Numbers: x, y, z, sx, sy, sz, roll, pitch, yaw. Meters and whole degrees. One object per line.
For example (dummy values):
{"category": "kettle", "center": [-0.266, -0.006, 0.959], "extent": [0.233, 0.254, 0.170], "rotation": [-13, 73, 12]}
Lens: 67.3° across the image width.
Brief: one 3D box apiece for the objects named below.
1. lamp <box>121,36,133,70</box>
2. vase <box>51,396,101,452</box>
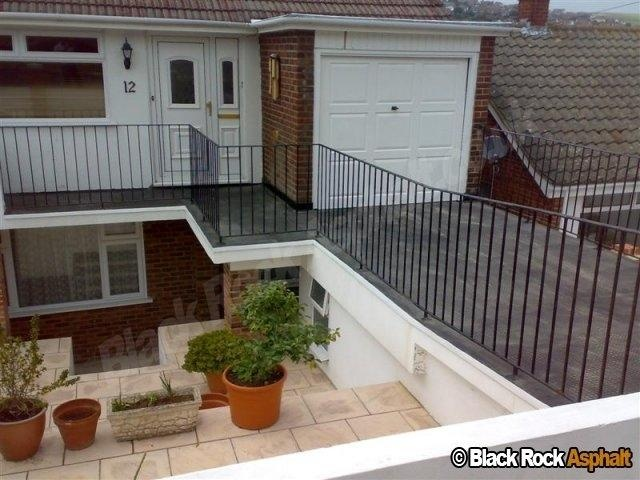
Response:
{"category": "lamp", "center": [-3.267, -3.175, 8.200], "extent": [0.188, 0.503, 0.159], "rotation": [-11, 20, -25]}
{"category": "vase", "center": [-2.399, 1.838, 4.759], "extent": [0.405, 0.309, 0.418], "rotation": [3, 9, 15]}
